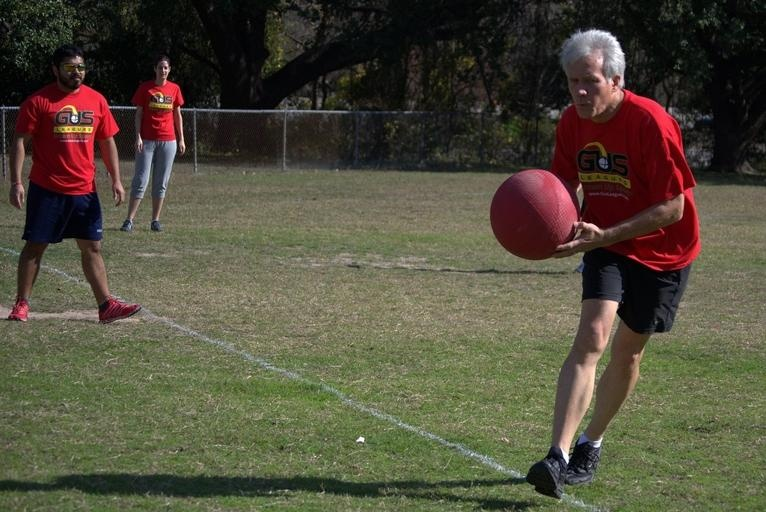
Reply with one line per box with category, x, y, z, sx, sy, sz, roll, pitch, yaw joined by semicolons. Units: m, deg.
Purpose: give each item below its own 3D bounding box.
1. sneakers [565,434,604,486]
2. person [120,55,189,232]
sneakers;1.852;1.908;9.650;0.242;0.257;0.593;15;28;24
person;-3.630;-1.776;16.566;1.088;2.717;0.555;0;6;-34
